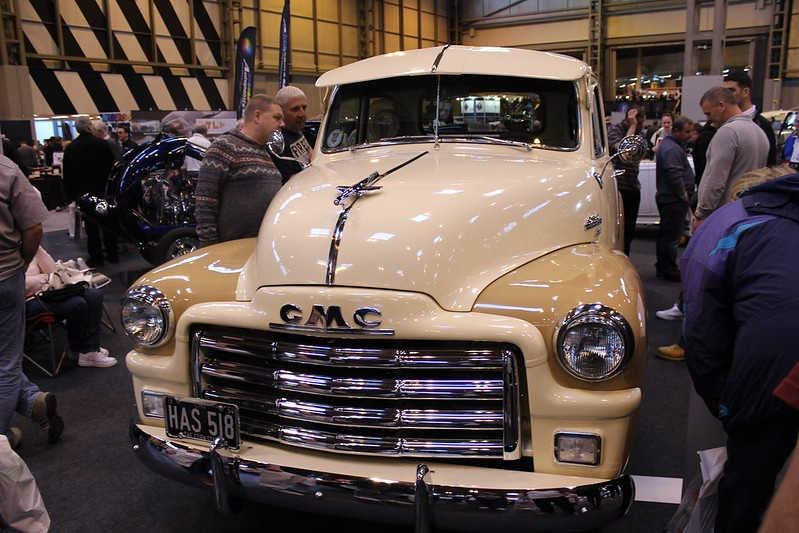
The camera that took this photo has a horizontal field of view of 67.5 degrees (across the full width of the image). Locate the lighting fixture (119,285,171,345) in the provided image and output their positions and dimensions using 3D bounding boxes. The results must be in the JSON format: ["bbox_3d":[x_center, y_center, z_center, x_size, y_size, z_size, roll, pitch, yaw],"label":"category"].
[{"bbox_3d":[-1.450,0.276,3.437,0.278,0.309,0.160,24,10,16],"label":"lighting fixture"}]

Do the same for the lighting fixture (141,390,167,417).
[{"bbox_3d":[-1.420,0.789,3.475,0.173,0.179,0.042,3,4,21],"label":"lighting fixture"}]

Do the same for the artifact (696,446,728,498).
[{"bbox_3d":[1.563,1.018,2.980,0.067,0.220,0.165,16,-12,-33],"label":"artifact"}]

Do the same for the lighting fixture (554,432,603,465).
[{"bbox_3d":[0.902,0.896,2.987,0.166,0.126,0.037,0,3,7],"label":"lighting fixture"}]

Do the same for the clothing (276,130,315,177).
[{"bbox_3d":[-0.938,-0.977,5.264,0.141,0.400,0.395,10,32,44],"label":"clothing"}]
